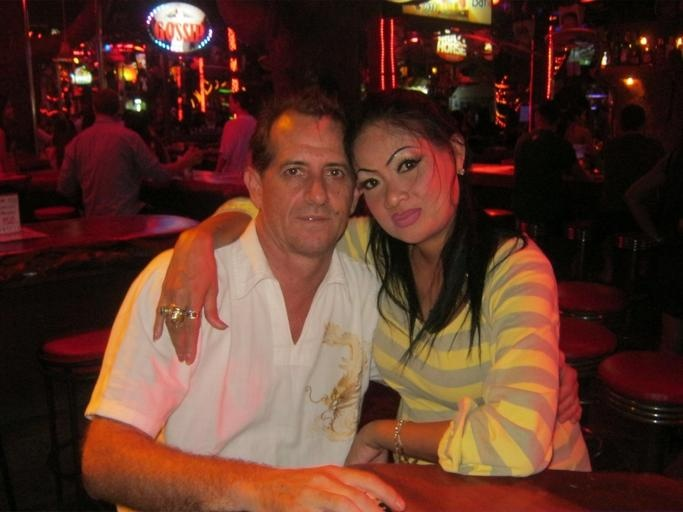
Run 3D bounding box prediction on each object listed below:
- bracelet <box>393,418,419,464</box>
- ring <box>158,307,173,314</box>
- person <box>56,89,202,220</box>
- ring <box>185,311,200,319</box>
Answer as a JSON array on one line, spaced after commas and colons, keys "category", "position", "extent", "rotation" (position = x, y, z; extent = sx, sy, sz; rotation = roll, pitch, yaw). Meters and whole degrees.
[{"category": "bracelet", "position": [0.245, 0.747, 2.425], "extent": [0.129, 0.184, 0.069], "rotation": [-2, 2, 5]}, {"category": "ring", "position": [-0.649, 0.202, 2.298], "extent": [0.036, 0.024, 0.024], "rotation": [-2, 6, -25]}, {"category": "person", "position": [-2.186, -0.759, 6.512], "extent": [1.371, 1.832, 0.895], "rotation": [0, 25, -9]}, {"category": "ring", "position": [-0.556, 0.219, 2.310], "extent": [0.040, 0.015, 0.029], "rotation": [8, -11, -16]}]
